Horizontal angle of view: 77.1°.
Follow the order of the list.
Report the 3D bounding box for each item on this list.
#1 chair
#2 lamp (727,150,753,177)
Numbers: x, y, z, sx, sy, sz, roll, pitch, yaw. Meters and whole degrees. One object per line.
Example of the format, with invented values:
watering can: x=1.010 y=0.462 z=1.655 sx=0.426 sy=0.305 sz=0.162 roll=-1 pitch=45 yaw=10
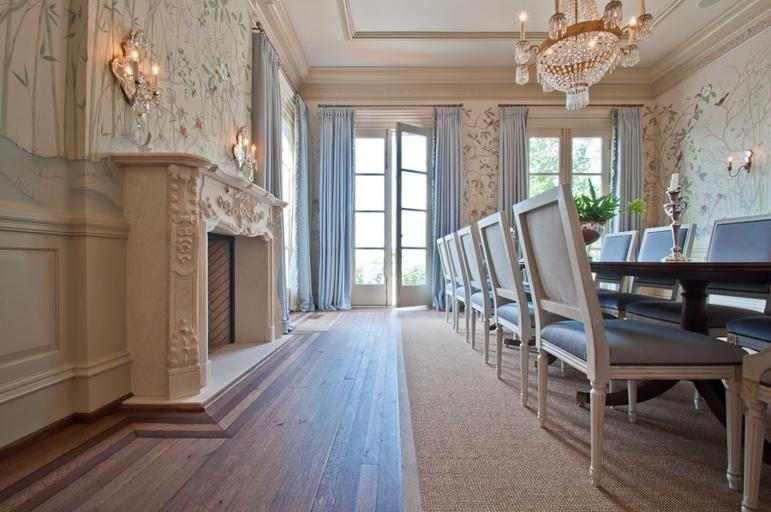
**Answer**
chair: x=1.245 y=0.400 z=2.596 sx=1.060 sy=1.537 sz=0.509 roll=-1 pitch=4 yaw=12
lamp: x=4.053 y=-1.063 z=5.564 sx=0.085 sy=0.293 sz=0.320 roll=-2 pitch=4 yaw=-5
